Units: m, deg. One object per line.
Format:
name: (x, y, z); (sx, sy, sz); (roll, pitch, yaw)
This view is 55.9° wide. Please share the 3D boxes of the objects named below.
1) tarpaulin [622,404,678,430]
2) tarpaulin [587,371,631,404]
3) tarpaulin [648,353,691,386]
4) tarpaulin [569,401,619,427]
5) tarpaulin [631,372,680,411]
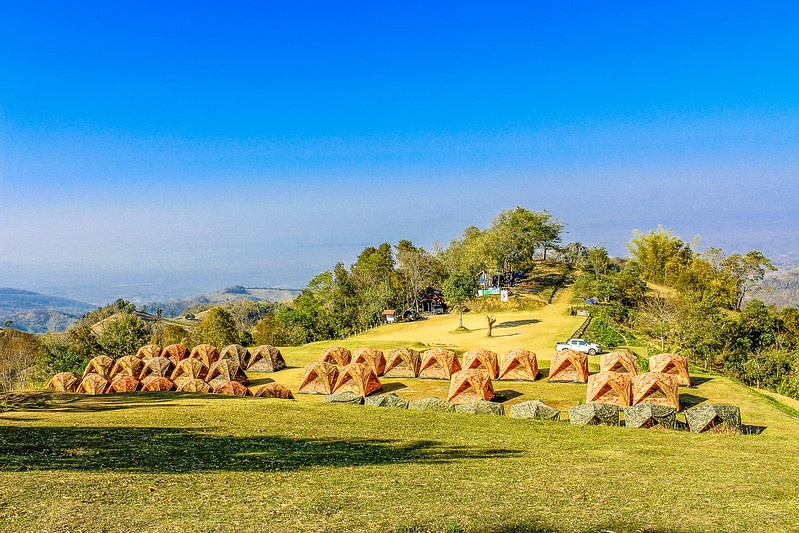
tarpaulin: (19.874, 11.695, 59.665); (2.637, 0.997, 2.511); (-3, 4, 16)
tarpaulin: (18.294, 9.994, 66.255); (4.047, 1.508, 3.722); (4, 41, 18)
tarpaulin: (26.721, 8.938, 74.363); (4.513, 1.908, 5.612); (4, 32, 15)
tarpaulin: (15.495, 11.880, 60.675); (2.520, 1.376, 2.309); (2, -7, -6)
tarpaulin: (22.423, 9.878, 66.168); (4.322, 1.861, 5.215); (5, 23, 12)
